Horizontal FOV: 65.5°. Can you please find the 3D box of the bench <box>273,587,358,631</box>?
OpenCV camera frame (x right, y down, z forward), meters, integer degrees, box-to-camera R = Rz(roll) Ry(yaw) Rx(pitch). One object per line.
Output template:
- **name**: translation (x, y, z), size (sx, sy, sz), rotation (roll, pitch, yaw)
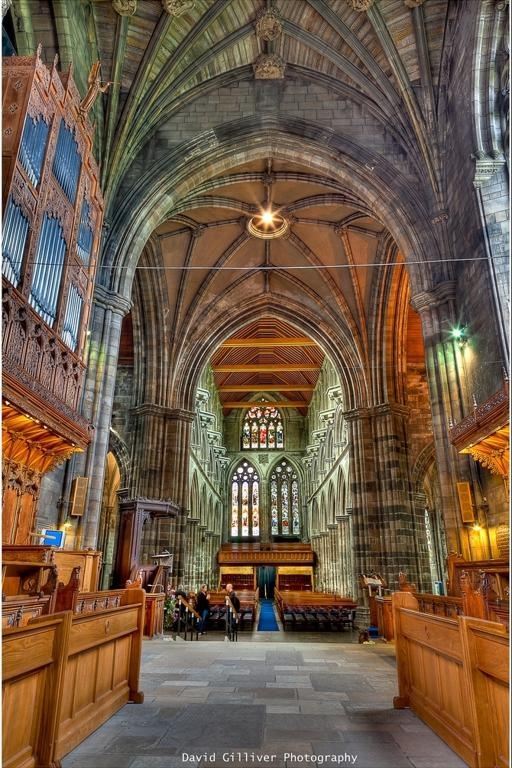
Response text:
- **bench**: translation (2.109, 8.447, 14.592), size (3.356, 1.019, 2.142), rotation (16, -25, -39)
